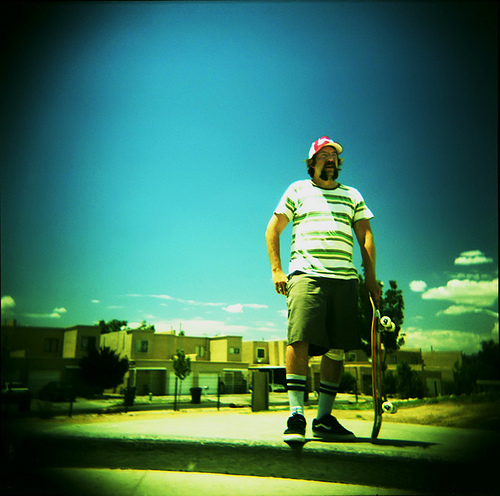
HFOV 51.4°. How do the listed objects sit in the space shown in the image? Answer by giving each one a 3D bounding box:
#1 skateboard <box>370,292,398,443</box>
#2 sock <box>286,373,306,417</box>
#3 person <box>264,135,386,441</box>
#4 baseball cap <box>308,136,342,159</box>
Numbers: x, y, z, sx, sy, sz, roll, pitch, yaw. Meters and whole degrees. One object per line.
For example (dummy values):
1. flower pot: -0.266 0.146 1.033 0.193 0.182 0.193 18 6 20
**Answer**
1. skateboard: 0.904 0.845 3.552 0.144 1.201 0.163 0 -7 1
2. sock: 0.318 1.003 3.538 0.134 0.281 0.138 0 -9 4
3. person: 0.571 0.217 3.818 0.819 2.309 0.536 3 -9 -20
4. baseball cap: 0.592 -0.789 4.058 0.259 0.185 0.164 -2 -9 10
